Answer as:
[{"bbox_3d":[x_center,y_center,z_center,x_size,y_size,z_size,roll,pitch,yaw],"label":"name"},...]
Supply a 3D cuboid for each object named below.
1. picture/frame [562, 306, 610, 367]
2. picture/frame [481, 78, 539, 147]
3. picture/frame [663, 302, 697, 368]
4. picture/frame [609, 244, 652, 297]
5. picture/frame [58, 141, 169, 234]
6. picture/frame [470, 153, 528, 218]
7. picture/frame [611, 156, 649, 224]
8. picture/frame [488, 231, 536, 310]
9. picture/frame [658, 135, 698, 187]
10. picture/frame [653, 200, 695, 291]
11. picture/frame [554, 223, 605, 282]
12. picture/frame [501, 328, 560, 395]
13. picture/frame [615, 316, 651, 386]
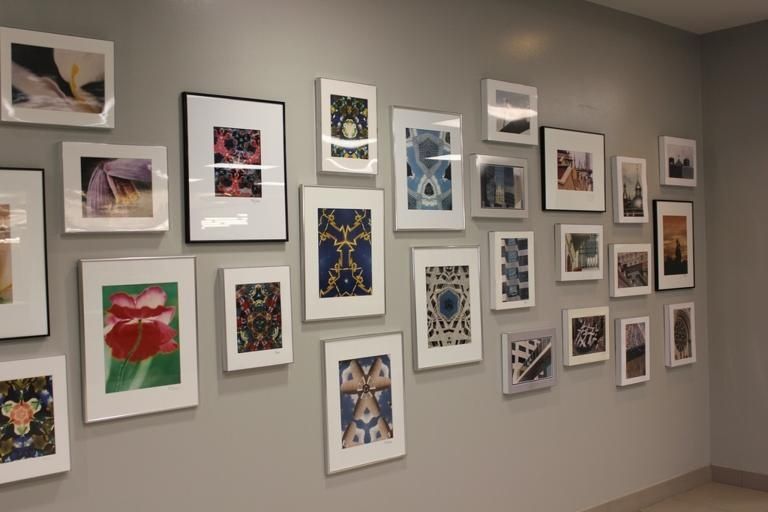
[{"bbox_3d":[1.245,0.483,3.458,0.032,0.312,0.314,15,-17,-22],"label":"picture/frame"},{"bbox_3d":[0.685,-0.789,3.181,0.380,0.350,0.042,0,-2,-32],"label":"picture/frame"},{"bbox_3d":[1.962,0.527,3.818,0.417,0.609,0.058,1,-2,-39],"label":"picture/frame"},{"bbox_3d":[1.593,0.091,3.621,0.038,0.301,0.317,1,-4,-22],"label":"picture/frame"},{"bbox_3d":[-1.150,-0.282,2.393,0.365,0.342,0.026,-1,-3,-26],"label":"picture/frame"},{"bbox_3d":[0.619,-0.379,3.141,0.337,0.323,0.038,1,-3,-34],"label":"picture/frame"},{"bbox_3d":[1.531,-0.405,3.592,0.405,0.620,0.067,0,-2,-41],"label":"picture/frame"},{"bbox_3d":[0.698,0.083,3.183,0.407,0.587,0.069,-1,-1,-34],"label":"picture/frame"},{"bbox_3d":[1.951,-0.627,3.824,0.337,0.312,0.034,1,-3,-40],"label":"picture/frame"},{"bbox_3d":[1.912,-0.063,3.801,0.573,0.845,0.053,0,-2,-39],"label":"picture/frame"},{"bbox_3d":[1.199,-0.021,3.435,0.034,0.309,0.333,4,-3,-24],"label":"picture/frame"},{"bbox_3d":[0.814,0.594,3.239,0.372,0.354,0.039,0,-5,-34],"label":"picture/frame"},{"bbox_3d":[1.555,0.598,3.599,0.418,0.611,0.058,1,-2,-39],"label":"picture/frame"}]
